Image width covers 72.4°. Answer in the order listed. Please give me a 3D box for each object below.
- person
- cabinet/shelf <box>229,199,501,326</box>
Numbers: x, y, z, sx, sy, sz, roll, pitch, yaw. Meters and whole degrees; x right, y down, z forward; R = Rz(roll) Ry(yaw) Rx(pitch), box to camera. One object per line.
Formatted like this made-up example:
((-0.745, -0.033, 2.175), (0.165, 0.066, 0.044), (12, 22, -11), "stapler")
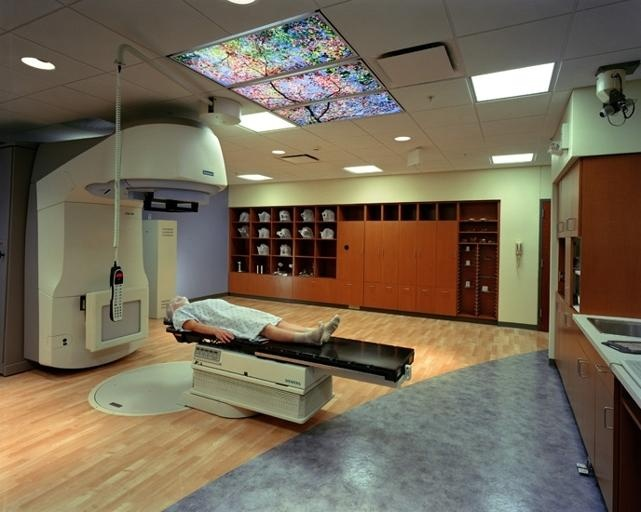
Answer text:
((-0.647, 0.633, 4.079), (1.277, 0.279, 0.610), (9, 5, 16), "person")
((0.753, -0.030, 8.675), (5.337, 2.233, 0.961), (4, 9, 23), "cabinet/shelf")
